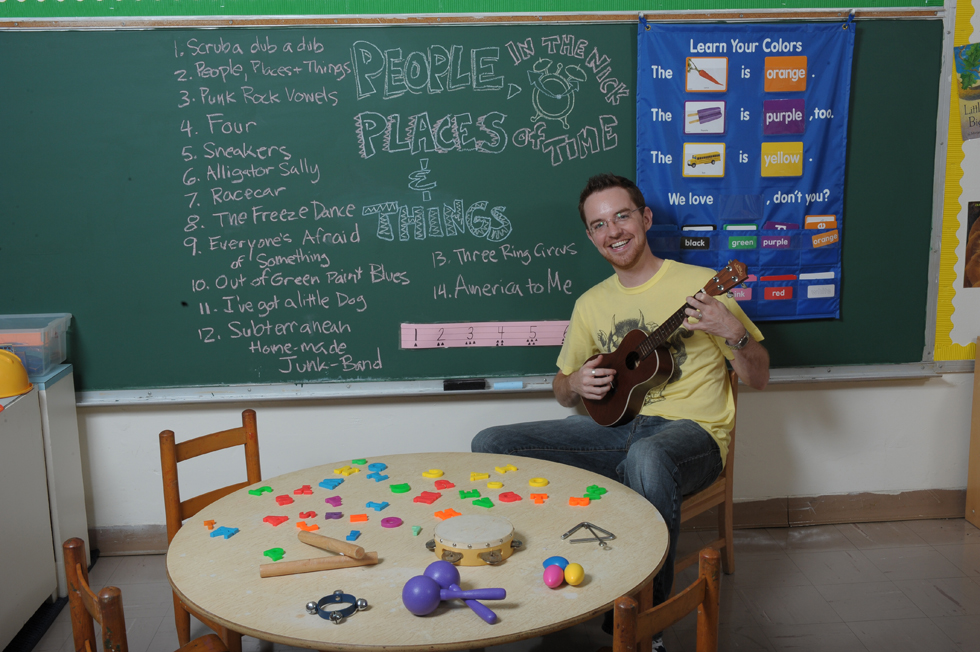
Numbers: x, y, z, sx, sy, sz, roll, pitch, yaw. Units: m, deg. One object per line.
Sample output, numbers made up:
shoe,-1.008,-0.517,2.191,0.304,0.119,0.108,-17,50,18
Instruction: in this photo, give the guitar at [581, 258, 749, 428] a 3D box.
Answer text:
guitar,0.752,0.148,3.461,0.139,1.010,0.382,19,38,-38
